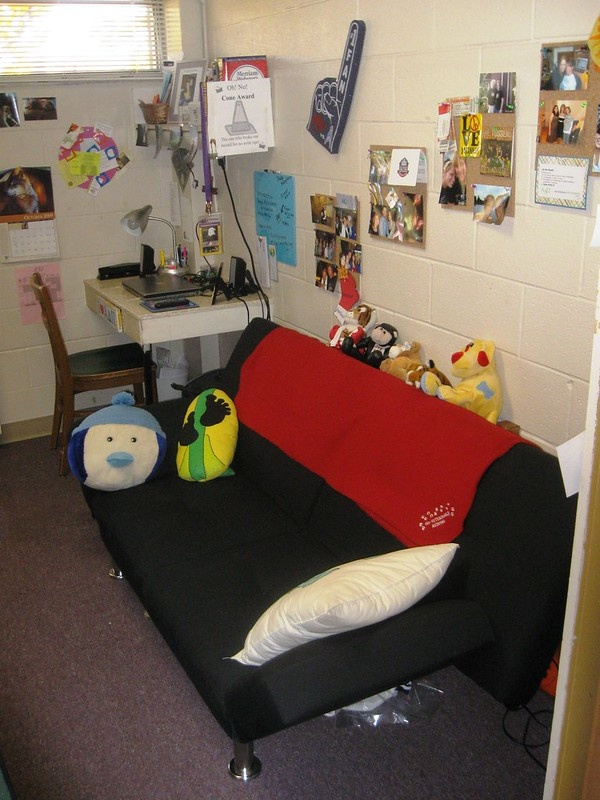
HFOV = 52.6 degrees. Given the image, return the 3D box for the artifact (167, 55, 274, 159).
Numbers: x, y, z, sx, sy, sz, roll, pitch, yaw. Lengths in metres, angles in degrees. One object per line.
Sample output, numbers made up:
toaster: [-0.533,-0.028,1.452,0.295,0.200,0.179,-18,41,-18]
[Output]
artifact: [-0.334,-1.336,2.752,0.238,0.397,0.418,14,23,33]

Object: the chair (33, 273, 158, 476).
chair: [-1.131,-0.183,3.399,0.616,1.027,0.556,-11,22,-31]

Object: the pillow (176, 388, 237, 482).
pillow: [-0.354,0.149,2.377,0.200,0.100,0.355,-8,54,21]

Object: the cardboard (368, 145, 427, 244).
cardboard: [0.344,-0.726,2.101,0.033,0.308,0.313,-13,28,-22]

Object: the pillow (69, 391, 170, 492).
pillow: [-0.701,0.184,2.402,0.346,0.271,0.445,5,42,-15]

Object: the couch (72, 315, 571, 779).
couch: [-0.036,0.309,1.799,0.890,0.652,1.501,-10,25,-26]

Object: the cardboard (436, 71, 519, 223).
cardboard: [0.509,-0.734,1.720,0.018,0.402,0.375,-14,30,-24]

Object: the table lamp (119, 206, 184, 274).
table lamp: [-0.840,-0.954,3.536,0.305,0.376,0.590,-3,23,-10]
